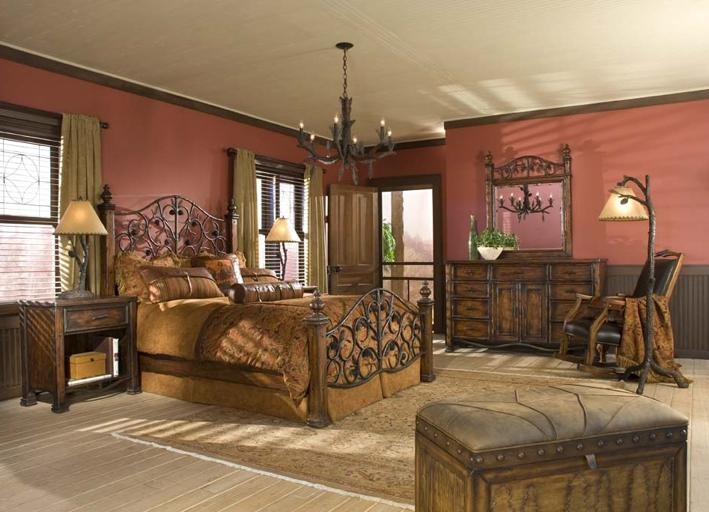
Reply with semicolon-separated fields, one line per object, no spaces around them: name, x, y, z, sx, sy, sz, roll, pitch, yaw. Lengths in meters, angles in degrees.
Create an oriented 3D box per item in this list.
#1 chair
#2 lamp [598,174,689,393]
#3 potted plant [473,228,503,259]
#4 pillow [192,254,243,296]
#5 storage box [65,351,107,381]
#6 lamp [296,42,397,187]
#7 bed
chair;2.967;0.602;5.696;1.209;1.334;0.811;-2;2;-3
lamp;3.150;0.197;5.578;0.861;2.220;2.073;2;4;25
potted plant;1.919;-0.156;7.249;0.410;0.275;0.410;1;2;36
pillow;-1.543;0.206;5.847;0.587;0.520;0.173;4;-27;-45
storage box;-2.595;0.982;4.902;0.212;0.223;0.376;2;2;30
lamp;-0.087;-1.483;5.195;1.094;1.357;0.932;0;2;-22
bed;-0.982;0.554;5.330;2.488;1.515;1.893;0;-4;28
